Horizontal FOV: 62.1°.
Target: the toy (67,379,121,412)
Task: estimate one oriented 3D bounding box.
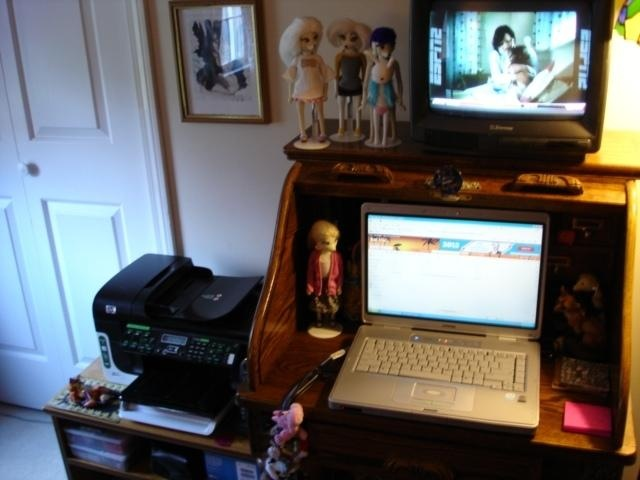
[{"bbox_3d":[-0.858,0.569,1.986,0.161,0.034,0.095,10,30,36],"label":"toy"}]

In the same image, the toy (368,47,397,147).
[{"bbox_3d":[0.191,-0.457,1.619,0.100,0.316,0.098,-2,18,-9],"label":"toy"}]

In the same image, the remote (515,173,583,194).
[{"bbox_3d":[0.632,-0.158,1.485,0.180,0.049,0.069,4,19,18],"label":"remote"}]

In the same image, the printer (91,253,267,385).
[{"bbox_3d":[-0.494,0.316,1.985,0.610,0.423,0.358,3,19,17],"label":"printer"}]
